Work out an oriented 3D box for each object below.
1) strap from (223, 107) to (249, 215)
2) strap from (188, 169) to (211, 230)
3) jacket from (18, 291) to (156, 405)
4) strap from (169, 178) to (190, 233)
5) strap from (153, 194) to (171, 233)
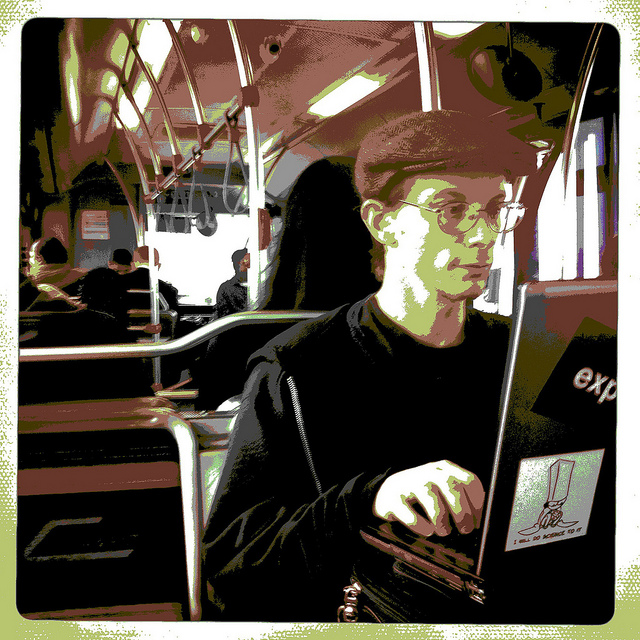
[{"bbox_3d":[-0.276,-0.513,1.956,0.089,0.380,0.032,7,18,23],"label":"strap"},{"bbox_3d":[-0.380,-0.374,1.932,0.064,0.203,0.014,3,35,-8],"label":"strap"},{"bbox_3d":[-0.816,0.130,2.129,0.406,0.109,0.436,-4,13,-25],"label":"jacket"},{"bbox_3d":[-0.449,-0.359,1.959,0.066,0.187,0.015,-3,22,-21],"label":"strap"},{"bbox_3d":[-0.502,-0.336,1.955,0.049,0.121,0.010,4,2,12],"label":"strap"}]
